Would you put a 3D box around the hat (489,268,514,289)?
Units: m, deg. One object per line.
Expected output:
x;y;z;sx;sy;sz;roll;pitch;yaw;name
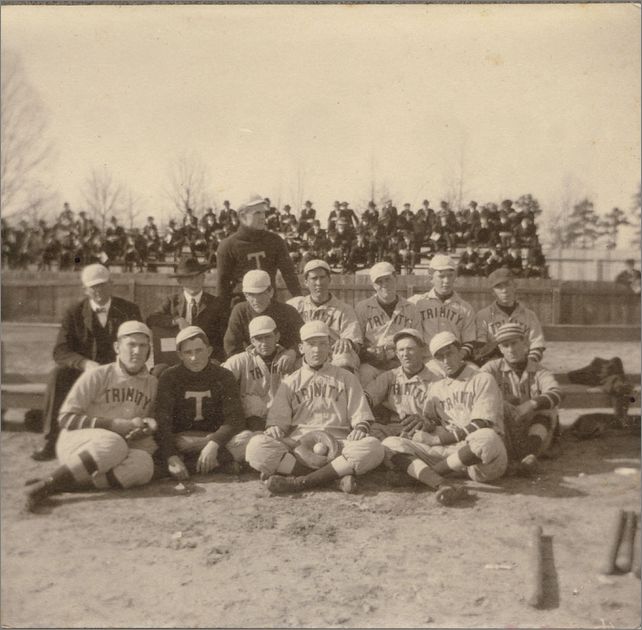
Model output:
1.765;-0.364;8.818;0.194;0.123;0.249;-23;-13;15;hat

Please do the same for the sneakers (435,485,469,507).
0.980;1.338;6.741;0.218;0.080;0.133;-6;23;-6;sneakers

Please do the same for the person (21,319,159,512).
-1.774;0.751;7.221;0.919;1.377;0.599;0;-1;-9;person

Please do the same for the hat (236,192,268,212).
-0.662;-1.041;8.542;0.251;0.150;0.210;0;-2;-6;hat

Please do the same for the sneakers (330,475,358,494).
0.190;1.306;6.993;0.081;0.085;0.183;-7;2;-35;sneakers

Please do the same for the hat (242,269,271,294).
-0.579;-0.293;8.142;0.236;0.226;0.293;-1;-2;3;hat

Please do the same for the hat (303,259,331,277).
-0.036;-0.438;8.366;0.222;0.145;0.313;-1;-2;0;hat

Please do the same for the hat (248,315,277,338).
-0.505;0.100;7.798;0.162;0.105;0.212;-10;-1;4;hat

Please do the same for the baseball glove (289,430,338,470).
-0.054;1.085;7.236;0.389;0.288;0.237;-1;-2;9;baseball glove

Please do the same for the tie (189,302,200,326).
-1.201;-0.017;8.595;0.078;0.221;0.059;-1;-1;-9;tie

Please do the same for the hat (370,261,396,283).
0.600;-0.397;8.511;0.177;0.116;0.232;-19;-5;16;hat

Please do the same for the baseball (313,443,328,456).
-0.004;1.076;7.230;0.116;0.095;0.081;-2;-2;36;baseball

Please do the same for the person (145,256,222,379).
-1.275;0.056;8.731;0.862;1.133;0.662;-1;-1;-17;person

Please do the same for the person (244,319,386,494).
-0.050;0.714;7.281;1.087;1.331;0.746;-1;-1;-3;person

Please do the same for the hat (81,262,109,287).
-2.037;-0.356;8.144;0.202;0.134;0.268;-12;14;-13;hat

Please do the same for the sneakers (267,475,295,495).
-0.300;1.299;6.959;0.218;0.112;0.090;-3;7;-26;sneakers
